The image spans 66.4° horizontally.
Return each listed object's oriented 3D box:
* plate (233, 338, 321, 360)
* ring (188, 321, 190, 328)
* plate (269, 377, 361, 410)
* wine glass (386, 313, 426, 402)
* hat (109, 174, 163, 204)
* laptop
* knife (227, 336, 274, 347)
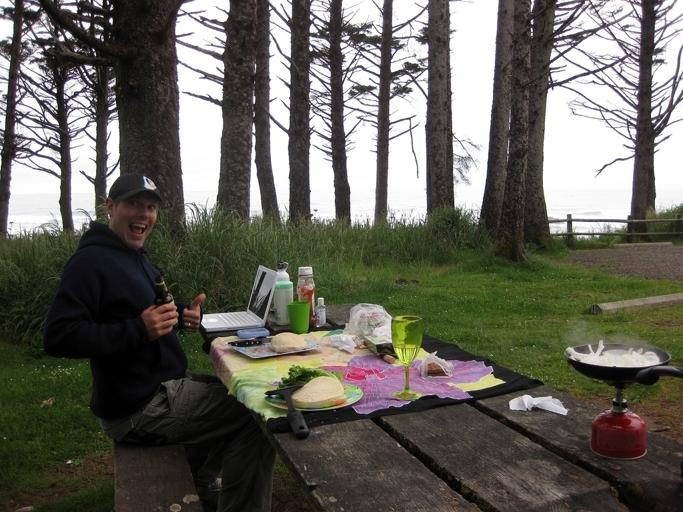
[{"bbox_3d":[-0.474,0.554,3.240,0.518,0.077,0.650,3,1,-16],"label":"plate"},{"bbox_3d":[-1.042,0.478,3.575,0.006,0.029,0.028,-12,6,3],"label":"ring"},{"bbox_3d":[-0.126,0.642,2.619,0.290,0.143,0.342,-2,6,-31],"label":"plate"},{"bbox_3d":[0.326,0.498,2.610,0.151,0.440,0.153,1,7,-12],"label":"wine glass"},{"bbox_3d":[-1.431,-0.456,3.572,0.280,0.157,0.216,-9,-3,34],"label":"hat"},{"bbox_3d":[-0.763,0.352,4.084,0.476,0.490,0.626,2,6,-20],"label":"laptop"},{"bbox_3d":[-0.581,0.561,3.364,0.167,0.040,0.096,0,4,-30],"label":"knife"}]
